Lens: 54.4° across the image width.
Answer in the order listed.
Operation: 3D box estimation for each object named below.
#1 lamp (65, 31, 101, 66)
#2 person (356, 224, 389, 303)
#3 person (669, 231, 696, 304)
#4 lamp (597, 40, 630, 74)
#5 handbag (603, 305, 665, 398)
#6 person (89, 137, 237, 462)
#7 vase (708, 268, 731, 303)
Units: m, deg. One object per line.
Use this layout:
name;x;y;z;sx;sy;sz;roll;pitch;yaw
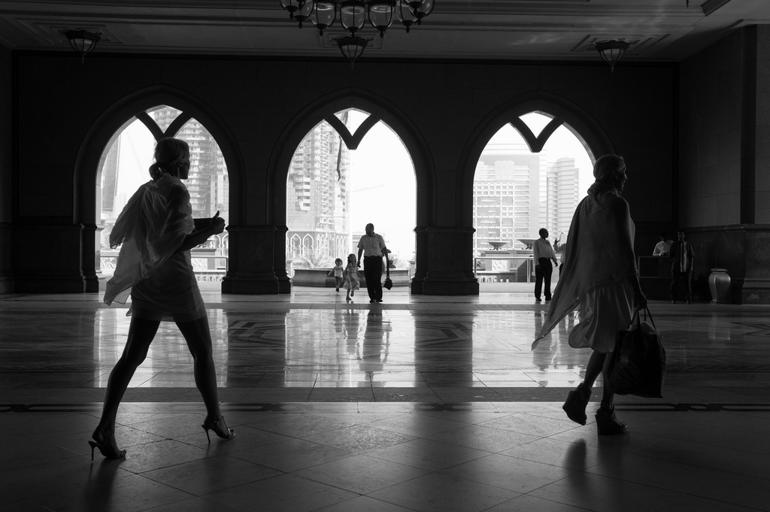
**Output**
lamp;-6.126;-4.224;15.154;0.626;0.552;0.609;-1;2;-26
person;-0.283;0.115;14.702;0.596;1.564;0.980;1;4;-1
person;5.995;0.218;15.219;0.463;1.394;0.745;3;4;22
lamp;4.732;-4.199;15.609;0.594;0.522;0.572;-5;-7;38
handbag;2.032;0.806;6.105;0.422;0.721;0.314;3;4;17
person;-1.741;0.276;5.821;1.021;2.407;0.512;0;4;-16
vase;6.665;0.579;14.939;0.378;0.649;0.466;2;4;6
